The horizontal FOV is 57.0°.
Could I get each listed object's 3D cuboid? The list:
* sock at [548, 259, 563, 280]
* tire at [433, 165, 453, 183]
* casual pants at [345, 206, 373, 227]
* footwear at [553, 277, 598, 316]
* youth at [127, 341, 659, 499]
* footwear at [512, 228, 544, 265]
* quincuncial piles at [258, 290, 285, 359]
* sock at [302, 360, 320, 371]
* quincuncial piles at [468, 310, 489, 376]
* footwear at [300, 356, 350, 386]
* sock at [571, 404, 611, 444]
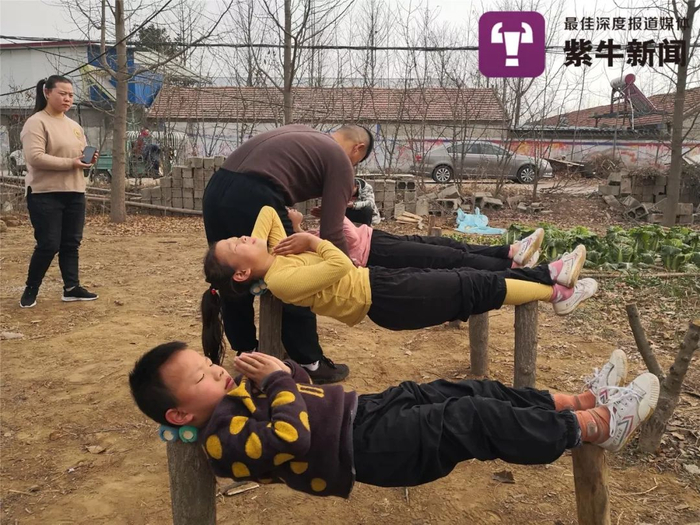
[{"bbox_3d":[1.616,0.054,5.049,0.085,0.196,0.071,1,-2,2],"label":"sock"},{"bbox_3d":[2.707,-2.597,18.665,0.610,0.608,0.215,-6,7,2],"label":"tire"},{"bbox_3d":[0.138,-0.531,7.155,0.309,0.099,0.297,9,14,30],"label":"casual pants"},{"bbox_3d":[1.917,0.286,5.466,0.435,0.177,0.158,-35,50,-4],"label":"footwear"},{"bbox_3d":[0.207,0.927,4.275,3.349,1.060,1.303,1,4,-3],"label":"youth"},{"bbox_3d":[1.594,-0.188,5.684,0.306,0.135,0.110,-17,5,43],"label":"footwear"},{"bbox_3d":[-0.608,0.497,5.159,0.194,0.469,0.277,3,16,-2],"label":"quincuncial piles"},{"bbox_3d":[-0.327,0.888,5.574,0.099,0.073,0.131,1,-7,-41],"label":"sock"},{"bbox_3d":[1.206,0.752,5.985,0.197,0.679,0.175,-7,-32,21],"label":"quincuncial piles"},{"bbox_3d":[-0.217,0.924,5.464,0.409,0.278,0.143,-12,42,-16],"label":"footwear"},{"bbox_3d":[1.529,0.883,4.123,0.233,0.109,0.201,-7,-9,24],"label":"sock"}]
